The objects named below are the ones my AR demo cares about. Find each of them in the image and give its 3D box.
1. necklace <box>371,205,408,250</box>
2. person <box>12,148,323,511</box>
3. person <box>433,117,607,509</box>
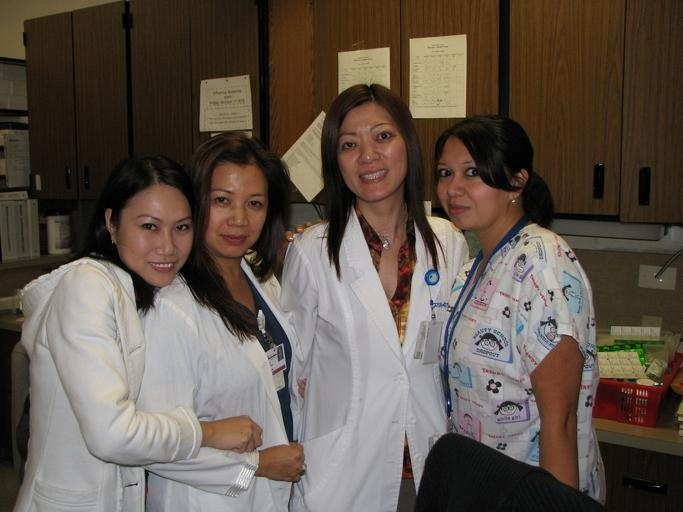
[{"bbox_3d":[0.181,-0.091,2.068,0.103,0.166,0.052,-1,8,-24],"label":"necklace"},{"bbox_3d":[-0.470,0.269,1.796,0.700,1.138,0.291,-4,4,-30],"label":"person"},{"bbox_3d":[0.537,0.168,1.889,0.499,1.235,0.345,1,5,43],"label":"person"}]
